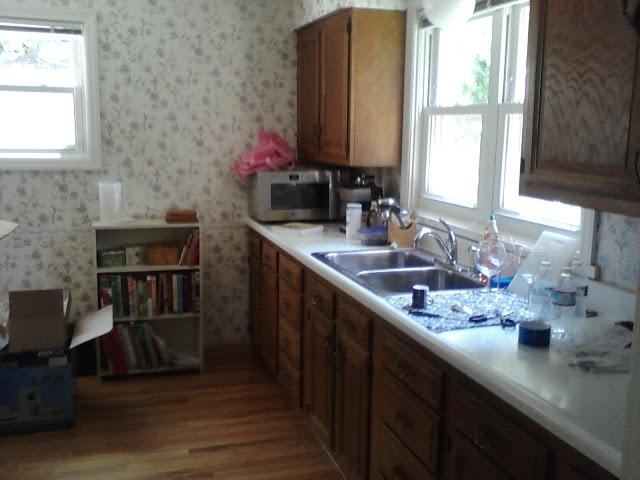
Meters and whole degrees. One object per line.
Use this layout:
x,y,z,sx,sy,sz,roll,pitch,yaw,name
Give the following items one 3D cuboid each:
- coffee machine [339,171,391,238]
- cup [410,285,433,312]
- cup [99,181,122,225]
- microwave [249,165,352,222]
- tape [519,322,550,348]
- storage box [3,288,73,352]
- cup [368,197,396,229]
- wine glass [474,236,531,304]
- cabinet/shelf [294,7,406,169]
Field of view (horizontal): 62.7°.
0.230,-0.253,3.576,0.175,0.334,0.333,-1,12,-19,coffee machine
0.377,0.216,1.960,0.056,0.092,0.089,3,4,11,cup
-1.445,-0.261,3.601,0.147,0.261,0.108,-4,13,-19,cup
-0.205,-0.254,3.734,0.512,0.357,0.389,-3,8,-18,microwave
0.665,0.278,1.640,0.077,0.052,0.077,-13,18,-43,tape
-1.558,0.435,2.965,0.330,0.360,0.359,-1,-7,-23,storage box
0.368,-0.167,3.184,0.126,0.201,0.209,0,17,-5,cup
0.716,0.092,2.125,0.227,0.388,0.213,4,8,29,wine glass
0.138,-0.981,3.434,0.347,0.933,0.895,-8,15,-35,cabinet/shelf
